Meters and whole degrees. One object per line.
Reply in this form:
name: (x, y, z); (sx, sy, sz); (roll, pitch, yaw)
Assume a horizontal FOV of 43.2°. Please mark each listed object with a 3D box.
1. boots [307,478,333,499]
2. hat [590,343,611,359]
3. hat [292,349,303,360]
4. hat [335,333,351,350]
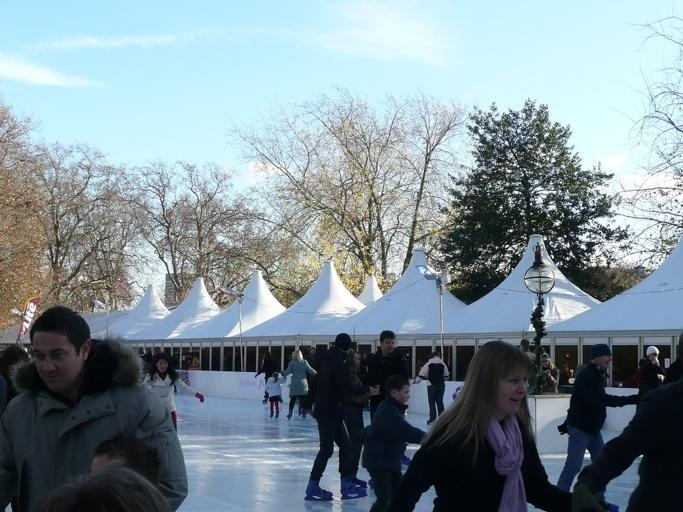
boots: (-0.249, 2.595, 9.636); (0.353, 0.318, 0.149); (-2, 0, -5)
hat: (2.720, 0.991, 9.027); (0.178, 0.147, 0.179); (-4, -2, -2)
hat: (-1.025, 2.395, 21.059); (0.213, 0.282, 0.291); (2, -20, -17)
hat: (0.015, 0.990, 10.109); (0.174, 0.193, 0.199); (11, 13, 34)
